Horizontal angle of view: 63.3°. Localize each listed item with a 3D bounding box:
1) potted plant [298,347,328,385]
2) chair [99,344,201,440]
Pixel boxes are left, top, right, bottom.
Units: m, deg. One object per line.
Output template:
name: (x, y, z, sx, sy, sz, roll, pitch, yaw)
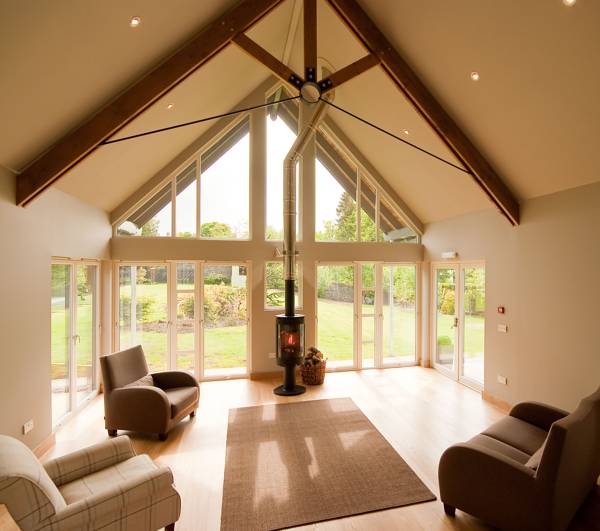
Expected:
potted plant: (0.225, 1.670, 8.191, 0.405, 0.539, 0.455, 0, 8, 1)
chair: (-1.996, 1.665, 6.543, 1.042, 1.155, 1.179, -2, -1, -3)
